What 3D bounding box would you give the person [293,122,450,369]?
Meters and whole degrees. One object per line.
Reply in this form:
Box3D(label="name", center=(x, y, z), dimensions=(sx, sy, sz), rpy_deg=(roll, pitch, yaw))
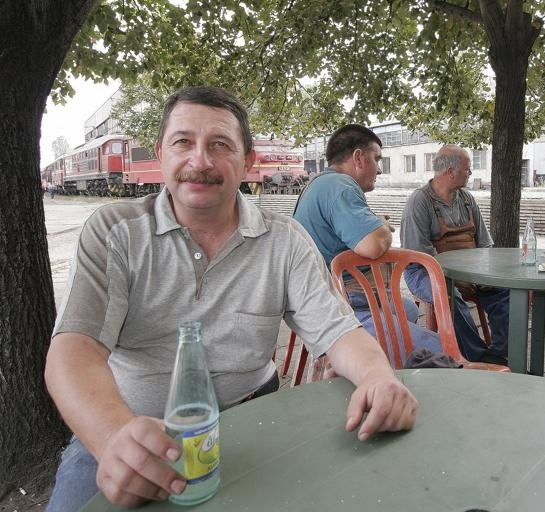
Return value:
Box3D(label="person", center=(0.735, -0.013, 3.156), dimensions=(0.962, 1.822, 0.908), rpy_deg=(0, 5, 12))
